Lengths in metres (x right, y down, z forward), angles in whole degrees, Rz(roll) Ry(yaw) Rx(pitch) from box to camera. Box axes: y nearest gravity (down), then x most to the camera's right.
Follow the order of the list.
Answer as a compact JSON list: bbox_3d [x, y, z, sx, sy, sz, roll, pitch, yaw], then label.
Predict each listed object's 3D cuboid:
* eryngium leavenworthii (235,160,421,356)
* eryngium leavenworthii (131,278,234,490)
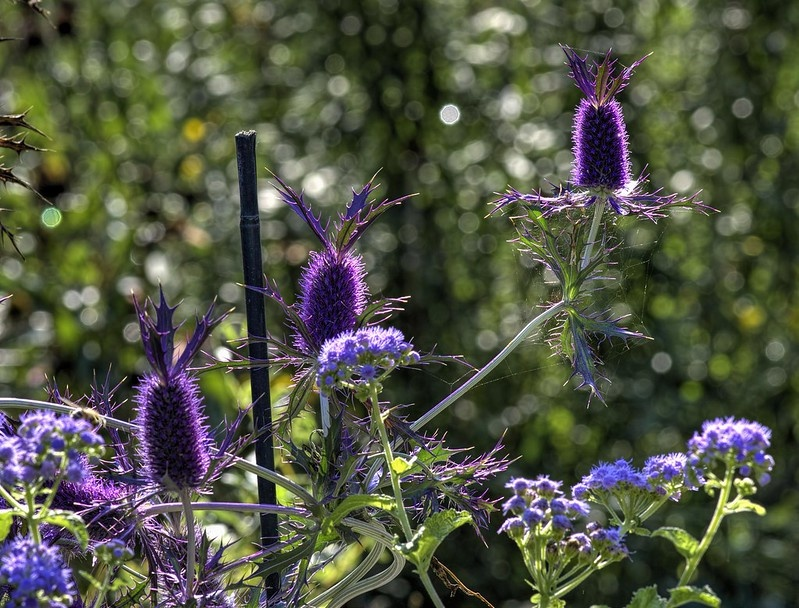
[{"bbox_3d":[-0.203,-0.136,5.008,0.637,0.643,0.572,3,-8,13],"label":"eryngium leavenworthii"},{"bbox_3d":[-0.741,0.295,4.572,0.338,0.649,0.199,-10,13,-13],"label":"eryngium leavenworthii"}]
